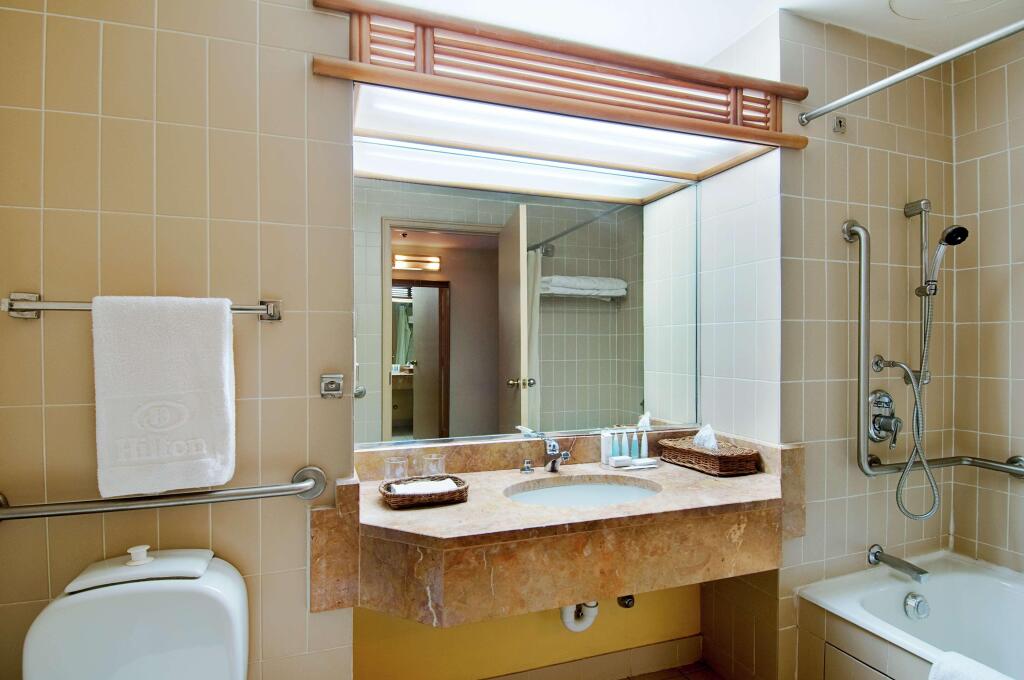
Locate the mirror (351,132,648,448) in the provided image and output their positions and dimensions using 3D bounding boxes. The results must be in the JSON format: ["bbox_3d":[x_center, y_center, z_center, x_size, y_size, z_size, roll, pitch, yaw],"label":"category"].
[{"bbox_3d":[-0.122,-0.246,3.618,1.453,1.513,0.070,0,0,-22],"label":"mirror"}]

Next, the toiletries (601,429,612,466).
[{"bbox_3d":[0.480,0.544,3.679,0.052,0.167,0.080,-1,0,-36],"label":"toiletries"}]

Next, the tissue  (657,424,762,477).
[{"bbox_3d":[0.977,0.555,3.670,0.235,0.230,0.501,-1,0,-32],"label":"tissue "}]

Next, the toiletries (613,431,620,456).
[{"bbox_3d":[0.526,0.526,3.707,0.037,0.114,0.094,-1,0,8],"label":"toiletries"}]

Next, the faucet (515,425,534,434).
[{"bbox_3d":[0.062,0.452,3.682,0.084,0.045,0.033,-1,0,1],"label":"faucet"}]

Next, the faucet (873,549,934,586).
[{"bbox_3d":[1.874,1.085,3.540,0.120,0.121,0.232,7,-3,-16],"label":"faucet"}]

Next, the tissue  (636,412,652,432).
[{"bbox_3d":[0.692,0.430,3.842,0.080,0.152,0.075,3,-6,6],"label":"tissue "}]

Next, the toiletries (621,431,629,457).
[{"bbox_3d":[0.569,0.526,3.694,0.044,0.115,0.105,-1,0,10],"label":"toiletries"}]
